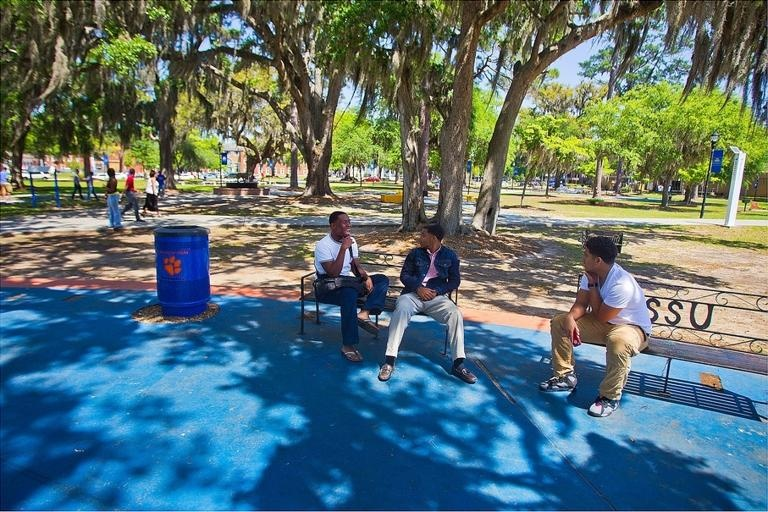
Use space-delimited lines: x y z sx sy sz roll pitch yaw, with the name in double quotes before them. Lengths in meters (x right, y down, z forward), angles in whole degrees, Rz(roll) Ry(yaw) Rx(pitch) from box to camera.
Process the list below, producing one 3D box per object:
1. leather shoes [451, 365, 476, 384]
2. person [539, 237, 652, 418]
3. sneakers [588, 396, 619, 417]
"leather shoes" 1.164 1.714 7.110 0.175 0.135 0.337 -11 18 -44
"person" 3.015 0.921 6.799 1.283 2.353 0.910 6 11 26
"sneakers" 2.948 2.038 6.566 0.483 0.219 0.176 -4 8 -35
